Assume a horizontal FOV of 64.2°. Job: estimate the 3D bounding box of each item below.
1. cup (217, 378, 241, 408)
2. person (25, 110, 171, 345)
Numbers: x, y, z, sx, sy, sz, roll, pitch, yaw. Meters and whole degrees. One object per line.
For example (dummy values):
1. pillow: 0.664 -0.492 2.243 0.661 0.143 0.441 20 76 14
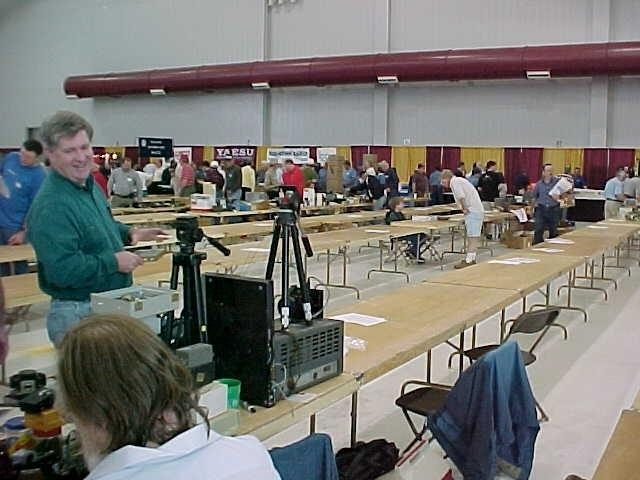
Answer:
1. cup: -0.324 0.555 1.851 0.079 0.106 0.100 -1 2 -11
2. person: -1.087 -0.071 2.285 0.540 1.006 0.739 -1 7 13
